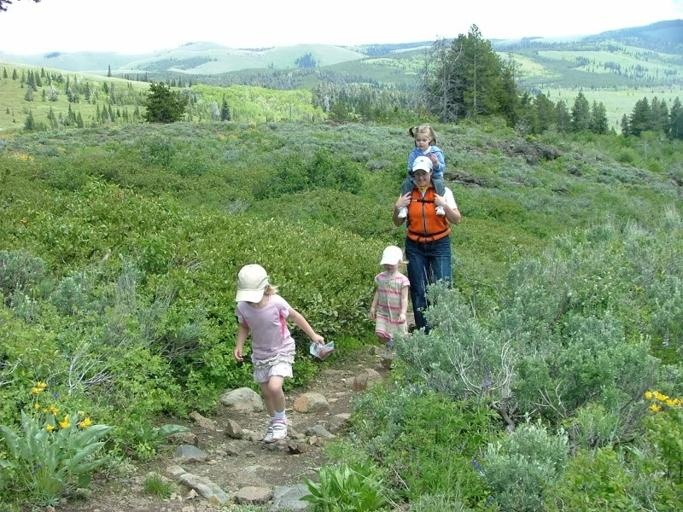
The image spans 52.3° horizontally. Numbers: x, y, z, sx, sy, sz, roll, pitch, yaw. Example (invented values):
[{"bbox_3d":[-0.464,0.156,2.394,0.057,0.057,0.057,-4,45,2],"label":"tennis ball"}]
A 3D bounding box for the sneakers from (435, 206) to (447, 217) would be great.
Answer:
[{"bbox_3d":[1.358,-0.611,9.540,0.122,0.112,0.097,-4,2,3],"label":"sneakers"}]

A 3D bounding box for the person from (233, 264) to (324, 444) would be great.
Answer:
[{"bbox_3d":[-0.814,1.105,8.323,0.883,2.146,0.660,-7,11,-3],"label":"person"}]

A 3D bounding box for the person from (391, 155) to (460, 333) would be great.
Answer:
[{"bbox_3d":[1.171,-0.328,9.657,0.846,2.067,0.496,-6,11,4],"label":"person"}]

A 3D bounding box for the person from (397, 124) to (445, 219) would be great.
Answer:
[{"bbox_3d":[1.138,-1.199,9.802,0.723,1.209,0.780,-10,21,-17],"label":"person"}]

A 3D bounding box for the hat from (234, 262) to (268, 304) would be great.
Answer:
[{"bbox_3d":[-1.048,0.282,8.012,0.354,0.283,0.550,2,33,6],"label":"hat"}]

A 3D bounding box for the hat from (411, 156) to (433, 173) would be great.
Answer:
[{"bbox_3d":[1.121,-1.257,9.642,0.300,0.251,0.419,-5,12,8],"label":"hat"}]

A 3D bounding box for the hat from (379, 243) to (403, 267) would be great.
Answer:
[{"bbox_3d":[0.748,0.002,10.076,0.218,0.200,0.340,0,6,20],"label":"hat"}]
